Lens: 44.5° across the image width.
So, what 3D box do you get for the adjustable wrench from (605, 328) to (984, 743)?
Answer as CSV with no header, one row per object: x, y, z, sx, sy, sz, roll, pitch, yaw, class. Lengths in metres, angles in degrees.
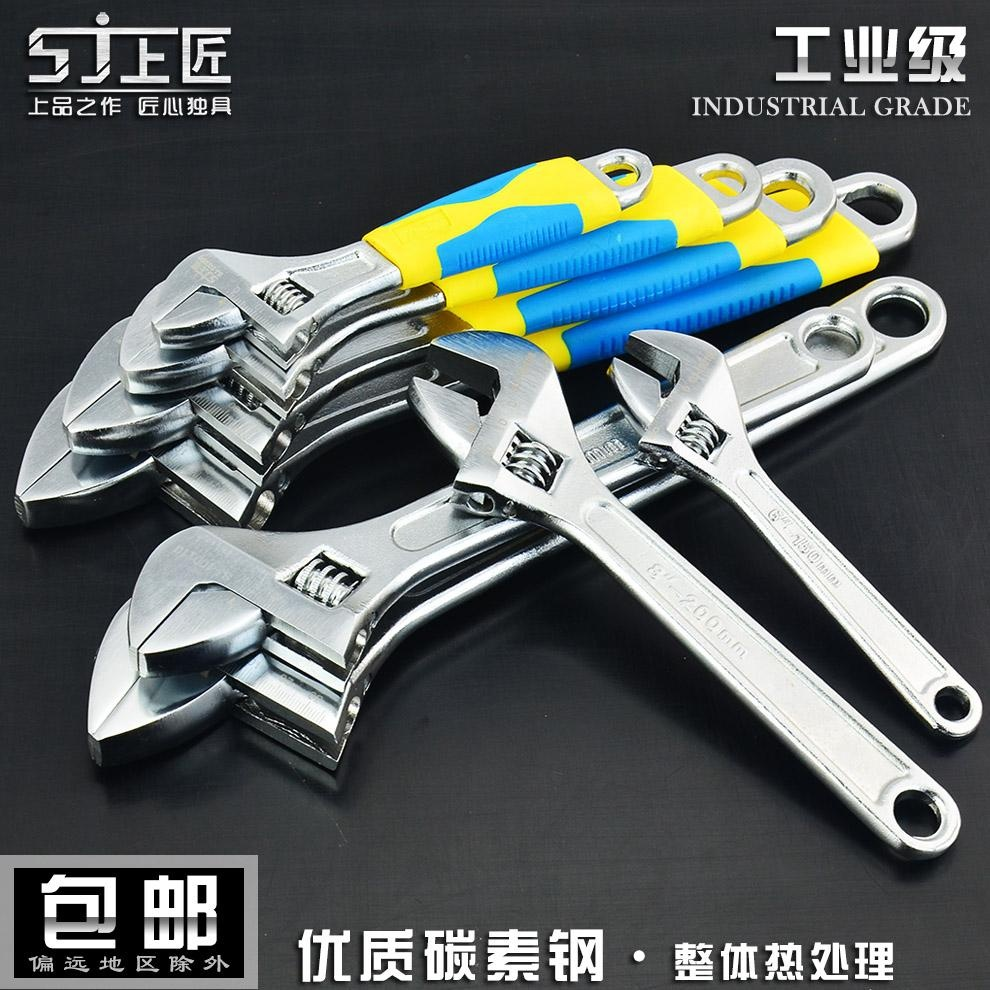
0.252,0.027,1.330,0.192,0.615,0.066,-32,-25,-28,adjustable wrench

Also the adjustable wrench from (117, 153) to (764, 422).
0.139,-0.258,1.464,1.095,0.228,0.161,-10,-39,-10,adjustable wrench

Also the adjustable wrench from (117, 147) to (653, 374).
0.003,-0.254,1.411,0.807,0.187,0.074,-16,-32,-11,adjustable wrench

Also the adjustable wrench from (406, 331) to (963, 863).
0.069,0.046,1.296,0.235,0.909,0.068,-34,-25,-22,adjustable wrench

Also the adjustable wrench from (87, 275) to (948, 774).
0.034,0.024,1.296,0.947,0.394,0.209,-10,7,-30,adjustable wrench
